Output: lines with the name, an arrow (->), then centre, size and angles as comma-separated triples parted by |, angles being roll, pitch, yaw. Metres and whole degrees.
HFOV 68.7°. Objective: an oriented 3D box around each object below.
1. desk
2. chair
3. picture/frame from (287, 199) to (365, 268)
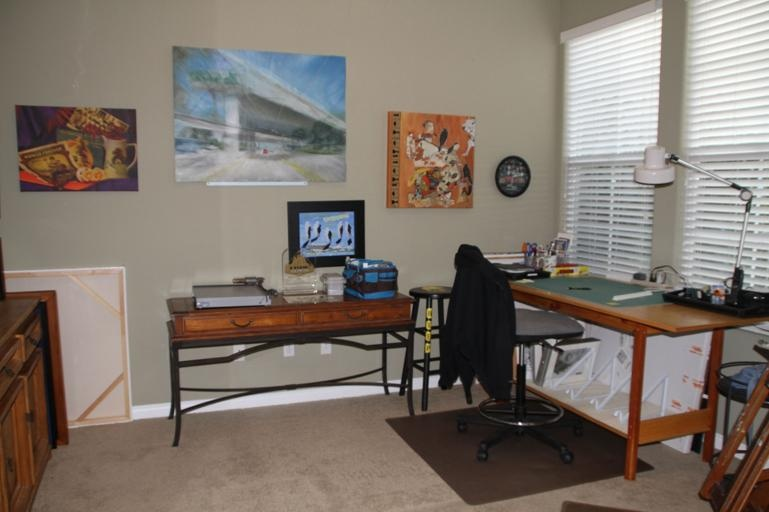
desk -> 1.781, 0.642, 4.352 | 1.224, 1.408, 2.300 | -4, 8, -21
chair -> 1.038, 0.701, 4.475 | 1.056, 1.568, 1.004 | -2, 9, -3
picture/frame -> -0.541, -0.210, 4.884 | 0.608, 0.499, 0.043 | -2, 8, -17
